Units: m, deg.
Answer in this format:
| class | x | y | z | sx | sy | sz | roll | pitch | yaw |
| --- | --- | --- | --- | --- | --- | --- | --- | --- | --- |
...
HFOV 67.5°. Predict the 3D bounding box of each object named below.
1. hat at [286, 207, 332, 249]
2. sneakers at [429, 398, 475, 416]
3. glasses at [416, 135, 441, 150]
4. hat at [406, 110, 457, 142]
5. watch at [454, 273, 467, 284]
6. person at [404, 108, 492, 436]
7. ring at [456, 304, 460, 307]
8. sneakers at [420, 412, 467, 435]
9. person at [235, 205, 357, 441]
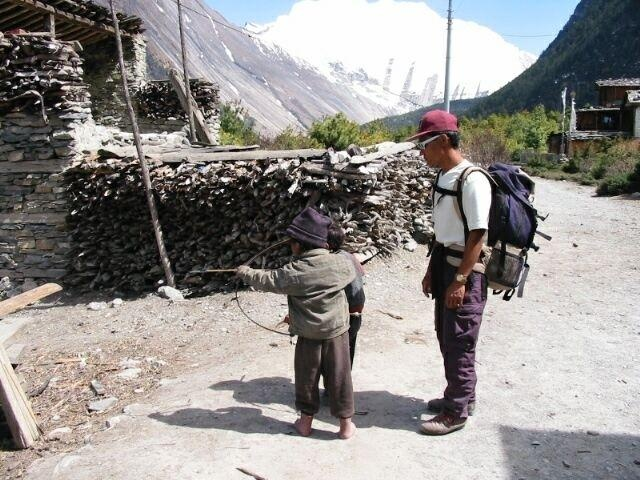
| class | x | y | z | sx | sy | sz | roll | pitch | yaw |
| --- | --- | --- | --- | --- | --- | --- | --- | --- | --- |
| hat | -0.109 | -0.117 | 4.468 | 0.512 | 0.292 | 0.323 | 7 | 21 | -19 |
| sneakers | 1.411 | 1.703 | 4.881 | 0.559 | 0.172 | 0.162 | 4 | 5 | -5 |
| glasses | 1.016 | -0.926 | 4.504 | 0.143 | 0.036 | 0.126 | -23 | -3 | 15 |
| hat | 1.040 | -1.089 | 4.493 | 0.439 | 0.166 | 0.243 | -1 | 9 | 8 |
| watch | 1.251 | 0.348 | 4.282 | 0.098 | 0.090 | 0.034 | 1 | 16 | 18 |
| person | 1.259 | 0.321 | 4.502 | 0.701 | 3.031 | 0.893 | -2 | 16 | 10 |
| ring | 1.244 | 0.590 | 4.334 | 0.035 | 0.027 | 0.008 | 1 | 48 | 15 |
| sneakers | 1.236 | 1.749 | 4.604 | 0.527 | 0.164 | 0.169 | 0 | 13 | -7 |
| person | -0.119 | 0.696 | 4.471 | 0.879 | 1.975 | 0.510 | -4 | 16 | 2 |
